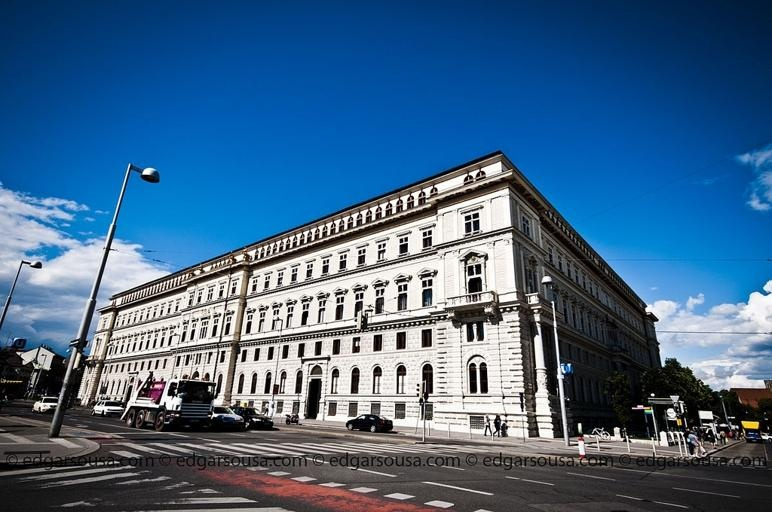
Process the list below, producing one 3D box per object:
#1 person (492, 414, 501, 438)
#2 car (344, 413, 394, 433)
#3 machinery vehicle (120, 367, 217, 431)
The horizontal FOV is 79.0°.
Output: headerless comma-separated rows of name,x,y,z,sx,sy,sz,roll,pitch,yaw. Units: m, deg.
person,9.641,14.544,40.620,0.651,1.634,0.581,-3,-28,10
car,-1.746,14.720,41.727,4.118,1.026,1.717,-6,-23,27
machinery vehicle,-16.401,10.851,35.032,9.134,3.144,3.310,-16,-27,41
